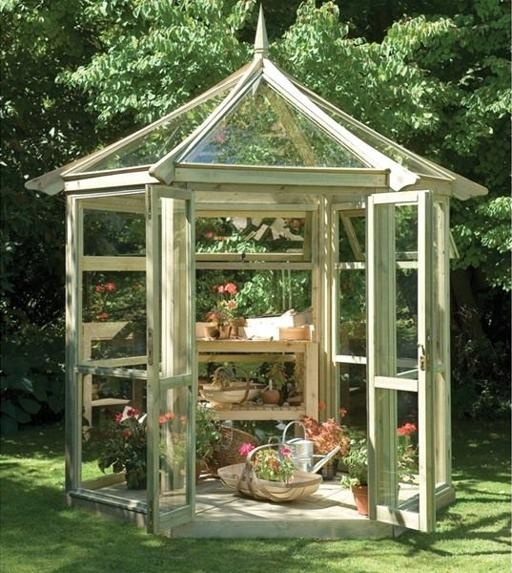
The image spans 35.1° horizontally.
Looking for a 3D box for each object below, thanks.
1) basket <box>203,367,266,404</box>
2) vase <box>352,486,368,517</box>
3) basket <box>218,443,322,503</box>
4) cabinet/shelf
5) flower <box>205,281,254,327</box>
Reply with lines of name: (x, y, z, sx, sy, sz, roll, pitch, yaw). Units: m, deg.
basket: (-0.275, 0.980, 8.048, 0.497, 0.193, 0.382, -2, -3, -34)
vase: (0.810, 1.667, 6.329, 0.057, 0.196, 0.161, 1, 0, -44)
basket: (0.074, 1.577, 6.726, 0.522, 0.293, 0.806, -1, -2, -40)
cabinet/shelf: (0.084, 0.967, 8.223, 1.411, 1.225, 1.031, 0, -4, -1)
flower: (-0.225, 0.173, 8.631, 0.470, 0.590, 0.451, 2, -3, -31)
